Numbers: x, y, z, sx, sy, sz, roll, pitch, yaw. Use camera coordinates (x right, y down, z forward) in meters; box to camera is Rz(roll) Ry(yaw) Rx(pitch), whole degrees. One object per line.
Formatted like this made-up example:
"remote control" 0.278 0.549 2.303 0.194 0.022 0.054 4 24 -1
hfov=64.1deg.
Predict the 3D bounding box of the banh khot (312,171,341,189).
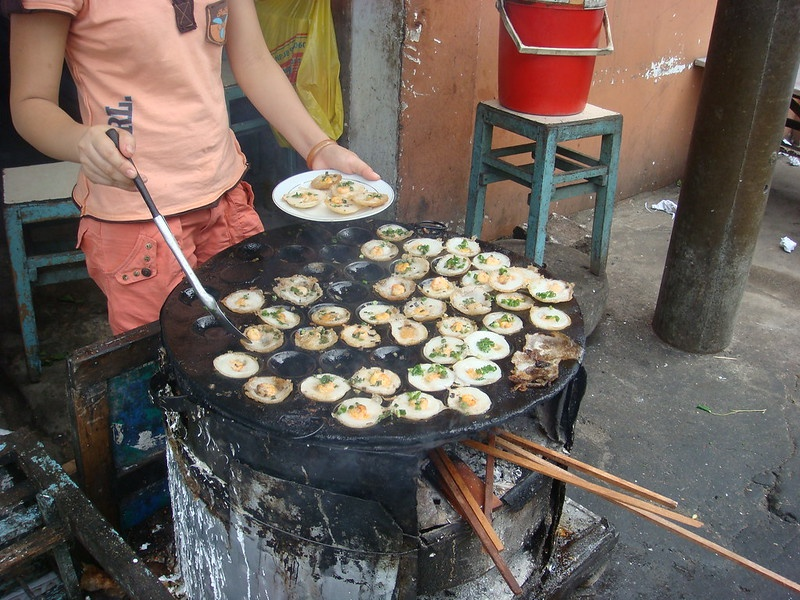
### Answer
"banh khot" -0.390 -0.617 3.381 0.128 0.031 0.095 -10 35 38

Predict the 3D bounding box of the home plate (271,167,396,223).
"home plate" -0.363 -0.532 3.292 0.403 0.042 0.403 -11 42 -18

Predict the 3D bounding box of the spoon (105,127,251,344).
"spoon" -1.036 -0.279 2.914 0.135 1.249 0.124 -24 31 2

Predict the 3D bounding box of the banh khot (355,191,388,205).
"banh khot" -0.143 -0.506 3.223 0.103 0.027 0.108 6 38 4

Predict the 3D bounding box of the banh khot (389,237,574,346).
"banh khot" 0.339 -0.096 3.211 0.817 0.440 0.838 1 18 -3

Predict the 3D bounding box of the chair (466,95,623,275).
"chair" 1.109 -0.765 5.147 1.098 1.497 1.107 4 23 -3
